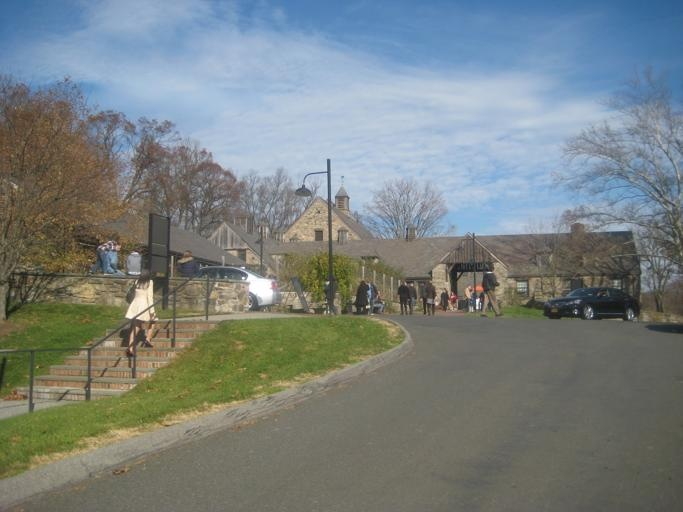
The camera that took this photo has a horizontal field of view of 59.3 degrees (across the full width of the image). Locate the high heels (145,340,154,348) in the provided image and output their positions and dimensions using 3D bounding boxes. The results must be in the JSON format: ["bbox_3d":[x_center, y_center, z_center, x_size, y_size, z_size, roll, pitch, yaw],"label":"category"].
[{"bbox_3d":[-5.086,2.302,15.795,0.148,0.178,0.195,-1,1,-3],"label":"high heels"}]

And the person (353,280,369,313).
[{"bbox_3d":[0.932,1.810,26.752,0.533,1.517,1.046,-1,-6,-2],"label":"person"}]

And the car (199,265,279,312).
[{"bbox_3d":[-4.077,1.226,23.747,2.955,1.062,1.439,1,-5,7],"label":"car"}]

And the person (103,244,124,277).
[{"bbox_3d":[-9.067,0.041,23.687,0.632,1.428,1.694,1,-7,-23],"label":"person"}]

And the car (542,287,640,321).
[{"bbox_3d":[11.316,2.249,27.033,3.782,1.318,1.737,6,-11,-25],"label":"car"}]

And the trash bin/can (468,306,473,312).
[{"bbox_3d":[9.013,3.655,41.855,0.369,0.390,0.282,-4,-9,20],"label":"trash bin/can"}]

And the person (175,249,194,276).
[{"bbox_3d":[-5.784,0.313,22.186,0.455,0.902,2.273,1,-8,-19],"label":"person"}]
